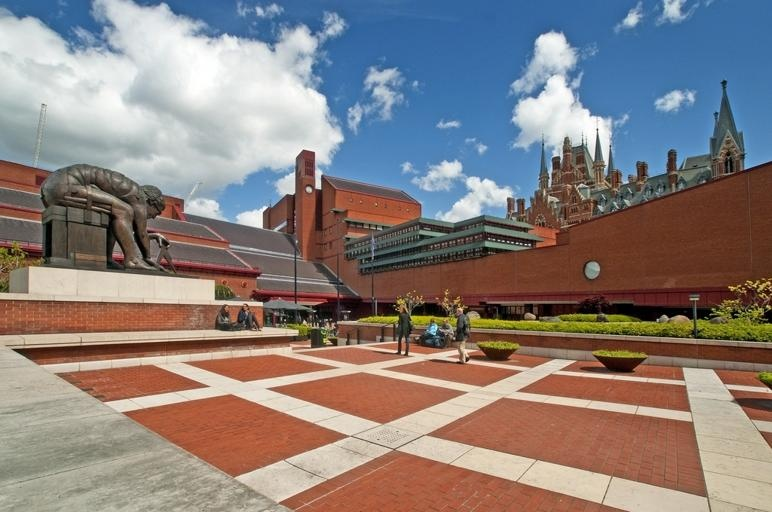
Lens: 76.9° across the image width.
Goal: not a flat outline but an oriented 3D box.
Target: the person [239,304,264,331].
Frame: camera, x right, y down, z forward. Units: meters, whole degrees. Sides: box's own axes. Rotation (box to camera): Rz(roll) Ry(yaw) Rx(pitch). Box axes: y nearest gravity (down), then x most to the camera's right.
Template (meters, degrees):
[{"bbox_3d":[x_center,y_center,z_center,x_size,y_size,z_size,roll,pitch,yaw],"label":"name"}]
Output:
[{"bbox_3d":[-6.079,2.806,21.427,0.869,1.249,1.836,-1,9,-16],"label":"person"}]

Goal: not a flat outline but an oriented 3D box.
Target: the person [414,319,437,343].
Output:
[{"bbox_3d":[1.946,3.910,24.634,1.057,1.274,2.585,1,8,-2],"label":"person"}]

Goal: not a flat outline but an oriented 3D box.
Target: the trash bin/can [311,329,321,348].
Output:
[{"bbox_3d":[-3.399,4.076,23.824,0.532,0.887,0.744,-1,9,-13],"label":"trash bin/can"}]

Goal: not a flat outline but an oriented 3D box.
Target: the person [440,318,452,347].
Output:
[{"bbox_3d":[2.780,3.694,23.378,0.658,1.258,1.635,2,8,5],"label":"person"}]

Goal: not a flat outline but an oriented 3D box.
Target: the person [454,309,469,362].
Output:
[{"bbox_3d":[2.873,3.143,18.690,0.496,2.190,1.507,3,9,8],"label":"person"}]
